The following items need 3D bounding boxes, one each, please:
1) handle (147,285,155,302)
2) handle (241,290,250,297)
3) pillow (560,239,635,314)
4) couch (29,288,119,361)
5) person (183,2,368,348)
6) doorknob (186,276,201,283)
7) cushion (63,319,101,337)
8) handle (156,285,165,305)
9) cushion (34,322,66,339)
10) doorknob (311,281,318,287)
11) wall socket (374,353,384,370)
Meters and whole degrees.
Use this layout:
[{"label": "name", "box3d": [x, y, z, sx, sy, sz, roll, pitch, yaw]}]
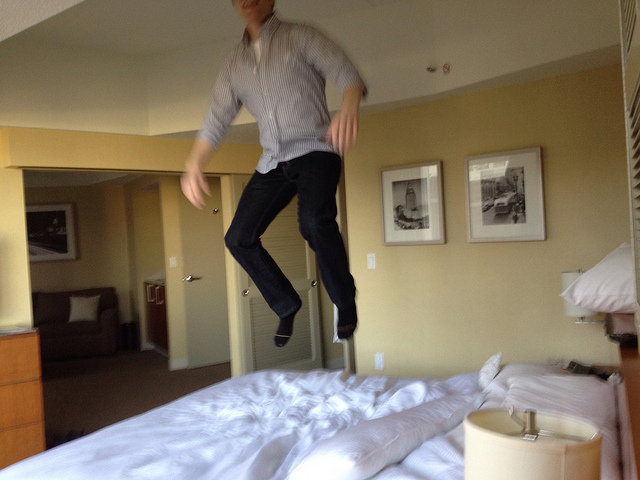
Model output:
[{"label": "handle", "box3d": [-2.196, 0.680, 5.935, 0.050, 0.219, 0.282, -4, -3, -26]}, {"label": "handle", "box3d": [-0.699, 0.485, 4.255, 0.050, 0.053, 0.013, -10, 15, -31]}, {"label": "pillow", "box3d": [1.242, 0.178, 2.067, 0.281, 0.341, 0.235, -8, -3, 39]}, {"label": "couch", "box3d": [-3.189, 1.061, 5.850, 0.971, 0.762, 0.550, -1, 3, -27]}, {"label": "person", "box3d": [-0.104, -0.223, 1.575, 0.717, 0.867, 0.399, -7, -3, 35]}, {"label": "doorknob", "box3d": [-1.421, 0.427, 5.134, 0.042, 0.069, 0.158, -7, -2, 38]}, {"label": "cushion", "box3d": [-2.954, 1.088, 5.745, 0.255, 0.080, 0.229, 3, 34, -11]}, {"label": "handle", "box3d": [-1.954, 0.656, 5.588, 0.017, 0.235, 0.325, -4, -3, -33]}, {"label": "cushion", "box3d": [-3.337, 1.112, 5.700, 0.329, 0.182, 0.146, -5, -2, -15]}, {"label": "doorknob", "box3d": [-0.061, 0.435, 4.633, 0.024, 0.044, 0.081, -7, -2, 37]}, {"label": "wall socket", "box3d": [0.455, 0.929, 3.564, 0.085, 0.105, 0.011, -7, -3, 32]}]
